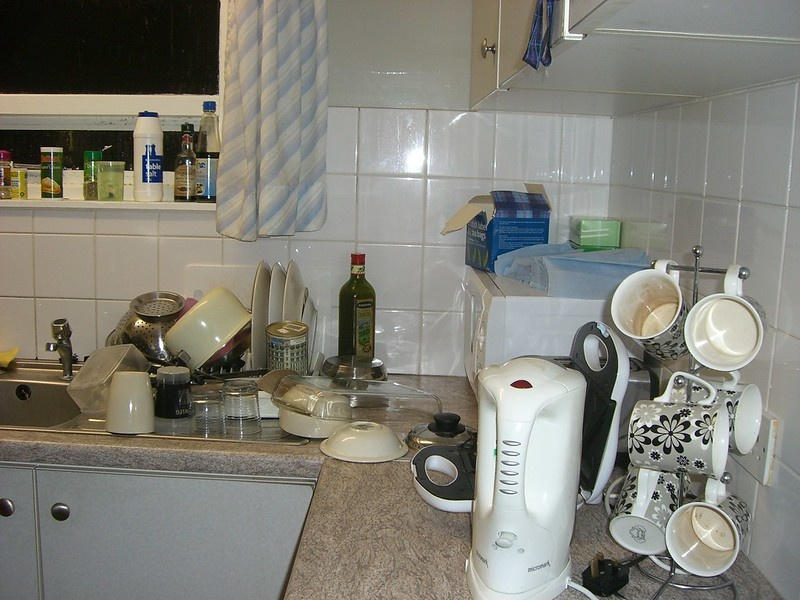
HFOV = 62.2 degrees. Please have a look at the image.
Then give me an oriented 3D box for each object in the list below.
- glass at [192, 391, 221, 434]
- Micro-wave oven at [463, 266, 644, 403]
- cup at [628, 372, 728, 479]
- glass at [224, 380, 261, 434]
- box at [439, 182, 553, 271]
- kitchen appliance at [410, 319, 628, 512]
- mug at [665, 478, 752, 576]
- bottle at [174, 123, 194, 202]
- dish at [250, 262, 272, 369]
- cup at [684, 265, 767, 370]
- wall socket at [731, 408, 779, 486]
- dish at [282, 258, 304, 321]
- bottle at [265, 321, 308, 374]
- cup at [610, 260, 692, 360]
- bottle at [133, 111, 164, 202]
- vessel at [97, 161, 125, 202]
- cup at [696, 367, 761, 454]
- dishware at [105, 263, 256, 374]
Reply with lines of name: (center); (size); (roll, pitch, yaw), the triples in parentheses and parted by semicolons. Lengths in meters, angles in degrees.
glass: (-0.464, 0.271, 1.603); (0.073, 0.090, 0.082); (1, 4, 0)
Micro-wave oven: (0.335, 0.139, 1.640); (0.273, 0.303, 0.442); (1, 2, 3)
cup: (0.447, 0.208, 1.052); (0.128, 0.203, 0.120); (2, -7, 0)
glass: (-0.377, 0.250, 1.598); (0.102, 0.158, 0.101); (0, 6, -5)
box: (0.258, -0.211, 1.825); (0.289, 0.237, 0.211); (-4, 11, -20)
kitchen appliance: (0.223, 0.213, 1.306); (0.391, 0.384, 0.292); (4, 9, -7)
mug: (0.493, 0.368, 1.063); (0.083, 0.141, 0.126); (22, 23, 37)
bottle: (-0.629, -0.383, 1.925); (0.065, 0.191, 0.050); (-2, 8, -13)
dish: (-0.377, 0.040, 1.775); (0.061, 0.283, 0.128); (-2, 8, -12)
cup: (0.511, 0.035, 1.071); (0.109, 0.178, 0.115); (2, 18, -1)
wall socket: (0.645, 0.265, 1.180); (0.010, 0.125, 0.119); (13, -4, 12)
dish: (-0.287, -0.009, 1.817); (0.067, 0.200, 0.019); (4, 6, 33)
bottle: (-0.300, 0.133, 1.760); (0.119, 0.145, 0.126); (7, 20, 8)
cup: (0.408, 0.032, 1.138); (0.104, 0.173, 0.155); (-12, -20, 40)
bottle: (-0.744, -0.417, 1.949); (0.087, 0.252, 0.144); (-3, 8, -20)
vessel: (-0.868, -0.354, 1.982); (0.074, 0.120, 0.074); (3, 7, -4)
cup: (0.537, 0.166, 1.078); (0.088, 0.132, 0.079); (6, 6, 32)
dishware: (-0.595, 0.076, 1.821); (0.445, 0.228, 0.201); (5, 9, 32)
